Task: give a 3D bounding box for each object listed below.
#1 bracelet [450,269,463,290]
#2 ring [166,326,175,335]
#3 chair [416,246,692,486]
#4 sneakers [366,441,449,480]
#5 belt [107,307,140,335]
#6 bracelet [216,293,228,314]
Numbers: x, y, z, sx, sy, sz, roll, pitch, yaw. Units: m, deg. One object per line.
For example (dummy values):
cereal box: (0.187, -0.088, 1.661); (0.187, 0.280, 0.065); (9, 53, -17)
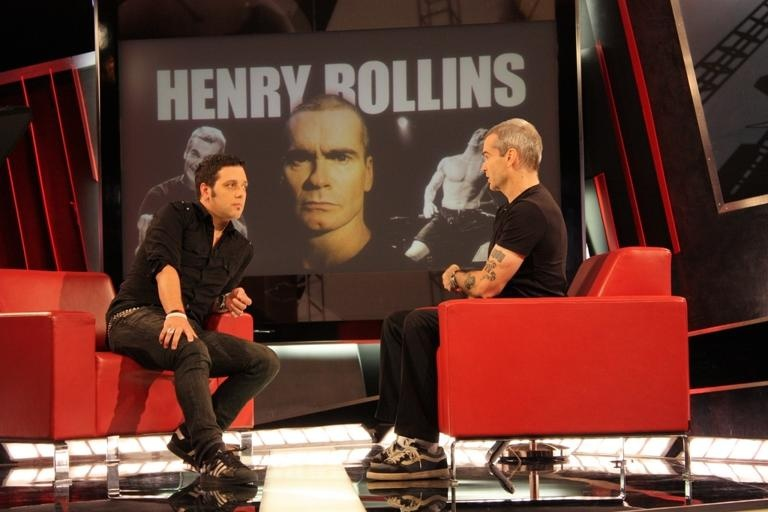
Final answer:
bracelet: (0.382, 0.131, 4.547); (0.096, 0.092, 0.072); (-10, 12, -40)
ring: (-1.103, 0.384, 4.299); (0.025, 0.035, 0.011); (34, 3, -5)
chair: (1.014, 0.458, 4.878); (1.403, 1.023, 1.494); (-2, -1, -2)
sneakers: (0.132, 1.069, 4.382); (0.471, 0.224, 0.180); (2, -9, -4)
belt: (-1.449, 0.345, 4.563); (0.146, 0.039, 0.150); (-38, -10, -5)
bracelet: (-0.932, 0.273, 4.758); (0.025, 0.091, 0.087); (9, -15, -7)
